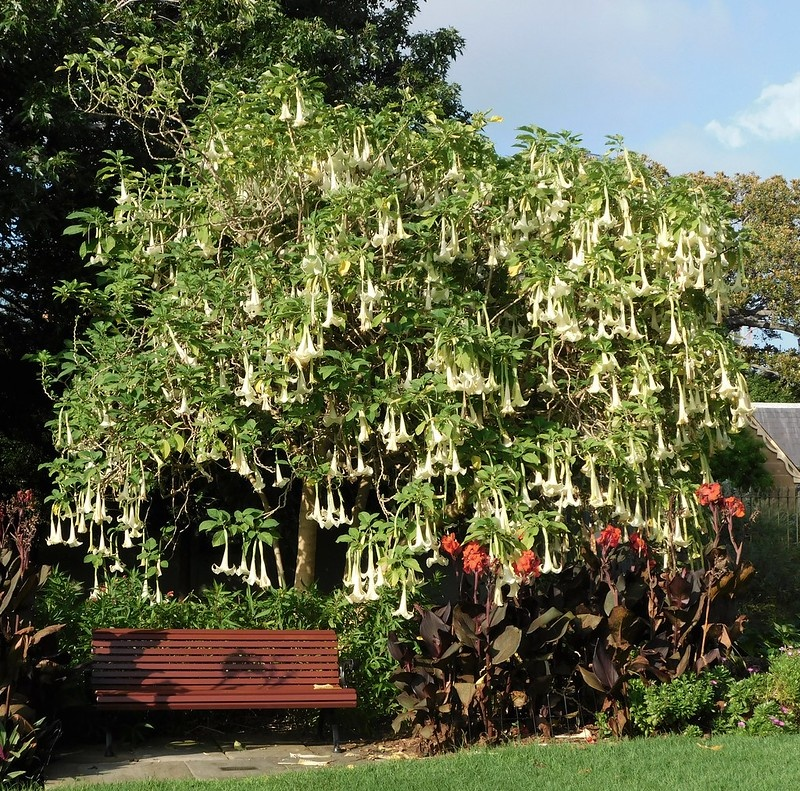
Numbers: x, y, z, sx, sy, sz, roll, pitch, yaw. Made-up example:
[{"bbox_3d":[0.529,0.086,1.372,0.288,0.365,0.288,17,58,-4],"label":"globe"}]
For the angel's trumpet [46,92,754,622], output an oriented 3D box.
[{"bbox_3d":[-0.087,-0.100,7.742,5.196,4.148,4.120,0,-45,-10],"label":"angel's trumpet"}]
